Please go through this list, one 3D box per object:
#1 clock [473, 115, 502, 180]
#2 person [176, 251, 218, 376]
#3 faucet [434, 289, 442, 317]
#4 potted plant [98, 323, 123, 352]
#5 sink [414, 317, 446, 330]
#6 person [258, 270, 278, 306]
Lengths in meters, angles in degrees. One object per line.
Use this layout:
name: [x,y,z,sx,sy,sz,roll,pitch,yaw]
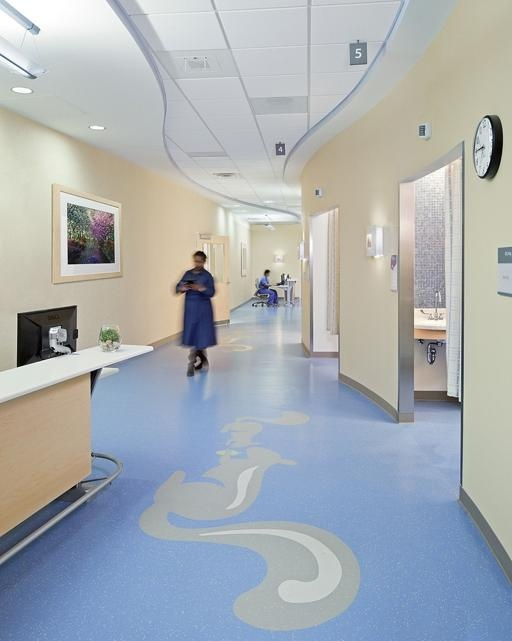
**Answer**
clock: [1.085,-0.799,1.980,0.039,0.308,0.407,0,1,16]
person: [-0.859,-0.077,5.999,0.548,1.732,0.326,-1,1,-8]
faucet: [1.990,-0.168,4.576,0.105,0.298,0.054,-1,1,-17]
potted plant: [-0.916,0.100,2.639,0.136,0.209,0.135,-4,6,-42]
sink: [1.790,0.056,4.319,0.296,0.101,0.403,0,1,24]
person: [0.463,-1.394,18.174,0.795,1.597,2.660,0,1,0]
